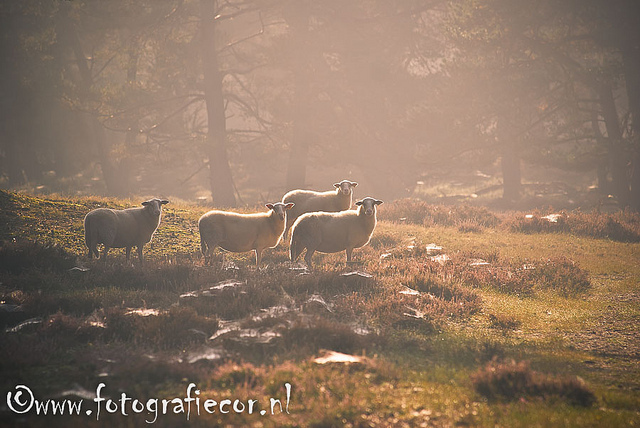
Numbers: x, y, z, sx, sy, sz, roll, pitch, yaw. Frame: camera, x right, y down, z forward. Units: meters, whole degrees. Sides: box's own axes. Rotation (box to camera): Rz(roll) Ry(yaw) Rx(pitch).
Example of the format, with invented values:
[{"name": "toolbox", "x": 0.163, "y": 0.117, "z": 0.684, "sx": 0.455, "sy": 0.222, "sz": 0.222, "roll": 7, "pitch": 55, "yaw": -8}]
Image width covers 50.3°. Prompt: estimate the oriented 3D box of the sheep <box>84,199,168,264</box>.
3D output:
[{"name": "sheep", "x": -7.815, "y": 0.793, "z": 27.647, "sx": 1.479, "sy": 2.802, "sz": 3.712, "roll": -4, "pitch": -3, "yaw": 35}]
